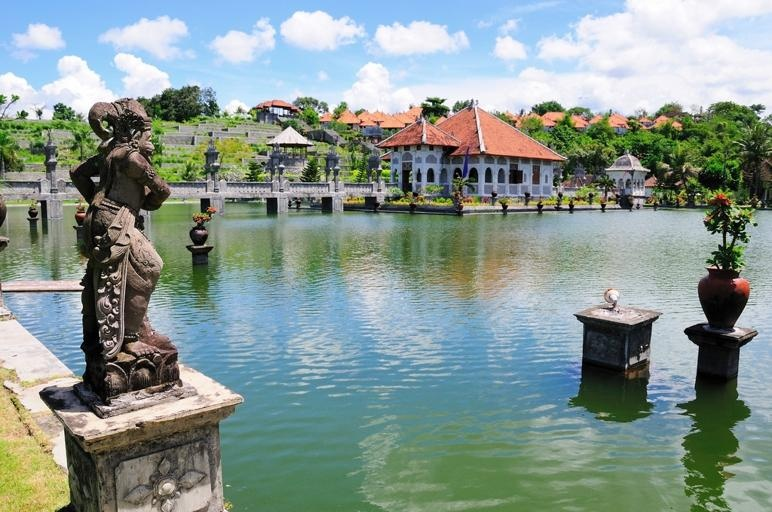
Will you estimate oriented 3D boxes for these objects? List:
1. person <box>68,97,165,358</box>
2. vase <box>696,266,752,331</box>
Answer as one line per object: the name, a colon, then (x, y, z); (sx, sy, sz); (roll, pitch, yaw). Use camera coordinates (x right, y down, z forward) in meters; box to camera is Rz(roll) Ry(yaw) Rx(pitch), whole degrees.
person: (-3.022, -0.346, 8.083); (1.092, 2.911, 0.855); (-1, 5, 1)
vase: (5.315, 0.683, 11.259); (0.695, 0.980, 0.374); (1, 5, 23)
